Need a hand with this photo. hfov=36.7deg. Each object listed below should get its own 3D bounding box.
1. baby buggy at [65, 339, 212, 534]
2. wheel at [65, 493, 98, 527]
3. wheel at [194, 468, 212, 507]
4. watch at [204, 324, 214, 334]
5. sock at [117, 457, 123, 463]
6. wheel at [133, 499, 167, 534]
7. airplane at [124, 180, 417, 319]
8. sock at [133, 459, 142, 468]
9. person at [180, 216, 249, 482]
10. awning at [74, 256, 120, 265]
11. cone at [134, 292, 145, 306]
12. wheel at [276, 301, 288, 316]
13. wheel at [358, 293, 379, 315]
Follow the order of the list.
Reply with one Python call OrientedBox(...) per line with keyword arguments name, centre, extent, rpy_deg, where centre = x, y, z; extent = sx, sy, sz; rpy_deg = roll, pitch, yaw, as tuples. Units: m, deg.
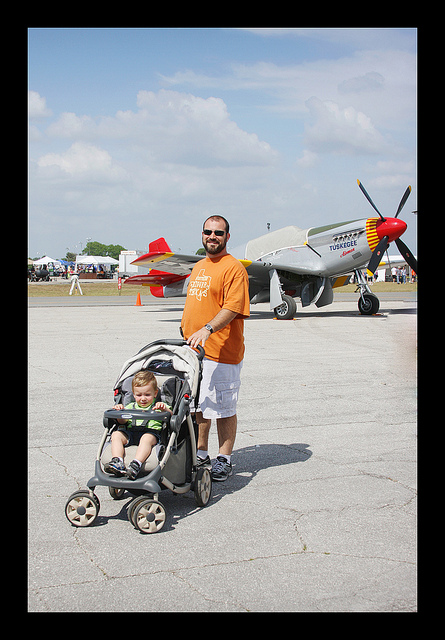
OrientedBox(name="baby buggy", centre=(-0.428, 0.617, 4.012), extent=(0.643, 0.943, 1.110), rpy_deg=(0, 2, 13))
OrientedBox(name="wheel", centre=(-0.771, 1.045, 3.697), extent=(0.158, 0.149, 0.088), rpy_deg=(22, 5, -2))
OrientedBox(name="wheel", centre=(-0.118, 1.005, 4.033), extent=(0.074, 0.235, 0.224), rpy_deg=(-5, -7, 25))
OrientedBox(name="watch", centre=(-0.081, 0.056, 4.353), extent=(0.056, 0.050, 0.038), rpy_deg=(19, 36, 41))
OrientedBox(name="sock", centre=(-0.569, 0.778, 3.743), extent=(0.029, 0.025, 0.007), rpy_deg=(-15, -14, 16))
OrientedBox(name="wheel", centre=(-0.393, 1.057, 3.606), extent=(0.152, 0.142, 0.065), rpy_deg=(23, -9, -19))
OrientedBox(name="airplane", centre=(1.944, -1.805, 20.897), extent=(5.925, 2.137, 6.349), rpy_deg=(-10, -5, 42))
OrientedBox(name="sock", centre=(-0.463, 0.794, 3.731), extent=(0.039, 0.039, 0.023), rpy_deg=(2, 4, -12))
OrientedBox(name="person", centre=(-0.069, 0.193, 4.667), extent=(0.462, 1.794, 1.340), rpy_deg=(2, 3, 1))
OrientedBox(name="awning", centre=(-19.981, -9.646, 109.344), extent=(5.038, 1.655, 12.310), rpy_deg=(2, 3, -1))
OrientedBox(name="cone", centre=(-3.735, -0.922, 30.026), extent=(0.665, 0.648, 0.621), rpy_deg=(1, -2, -4))
OrientedBox(name="wheel", centre=(1.756, -0.339, 19.782), extent=(0.131, 0.434, 0.544), rpy_deg=(1, 3, -21))
OrientedBox(name="wheel", centre=(4.474, -0.466, 20.524), extent=(0.380, 0.660, 0.610), rpy_deg=(-7, 25, -42))
